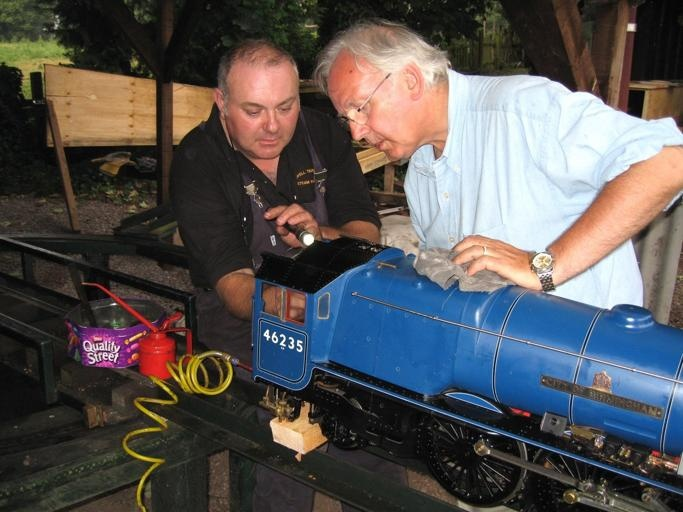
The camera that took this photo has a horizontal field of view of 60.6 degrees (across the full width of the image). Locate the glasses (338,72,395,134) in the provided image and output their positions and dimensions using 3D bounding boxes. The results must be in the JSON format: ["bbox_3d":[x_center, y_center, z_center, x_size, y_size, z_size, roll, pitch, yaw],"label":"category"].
[{"bbox_3d":[0.111,-0.682,2.631,0.063,0.213,0.207,44,8,-1],"label":"glasses"}]
